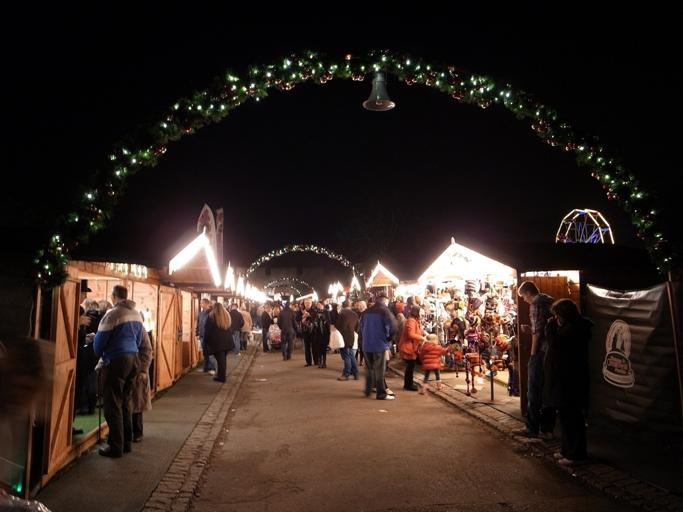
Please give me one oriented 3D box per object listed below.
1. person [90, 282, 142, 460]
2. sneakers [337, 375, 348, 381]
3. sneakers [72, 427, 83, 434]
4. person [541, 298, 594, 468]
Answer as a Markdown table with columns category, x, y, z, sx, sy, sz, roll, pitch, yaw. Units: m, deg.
| category | x | y | z | sx | sy | sz | roll | pitch | yaw |
| --- | --- | --- | --- | --- | --- | --- | --- | --- | --- |
| person | -3.143 | 1.592 | 7.678 | 0.431 | 2.325 | 0.586 | -1 | -2 | 22 |
| sneakers | 0.038 | 3.221 | 14.365 | 0.098 | 0.107 | 0.220 | -8 | -18 | 35 |
| sneakers | -4.042 | 2.691 | 8.367 | 0.144 | 0.084 | 0.168 | 1 | -3 | -30 |
| person | 3.037 | 1.634 | 7.253 | 0.594 | 2.088 | 0.470 | -1 | -2 | 11 |
